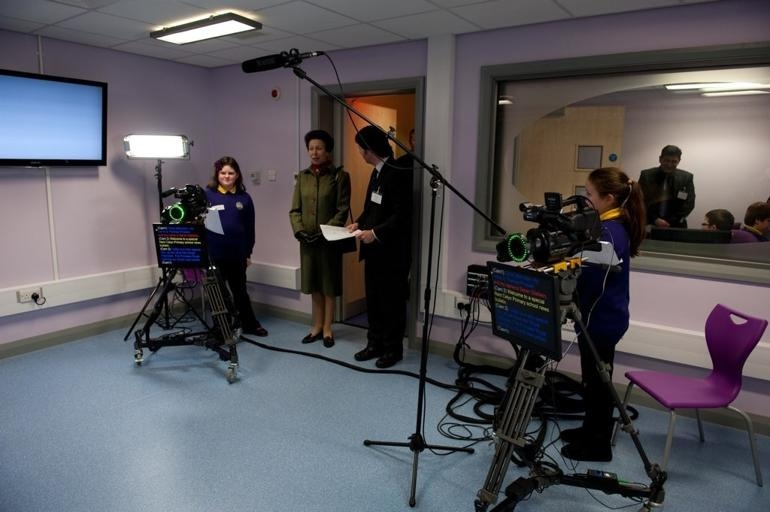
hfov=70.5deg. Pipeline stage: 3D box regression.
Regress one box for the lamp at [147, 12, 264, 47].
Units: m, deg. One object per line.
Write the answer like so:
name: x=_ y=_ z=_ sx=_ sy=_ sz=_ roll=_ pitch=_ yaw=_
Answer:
lamp: x=-1.666 y=-2.150 z=5.197 sx=1.192 sy=0.175 sz=0.465 roll=8 pitch=16 yaw=30

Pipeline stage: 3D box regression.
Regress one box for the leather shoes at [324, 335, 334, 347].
leather shoes: x=-0.584 y=0.914 z=5.712 sx=0.068 sy=0.045 sz=0.124 roll=-1 pitch=35 yaw=-3

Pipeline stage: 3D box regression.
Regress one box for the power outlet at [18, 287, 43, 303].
power outlet: x=-3.517 y=0.399 z=5.441 sx=0.129 sy=0.172 sz=0.230 roll=1 pitch=4 yaw=38

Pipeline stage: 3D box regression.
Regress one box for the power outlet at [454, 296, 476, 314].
power outlet: x=0.760 y=0.488 z=5.274 sx=0.131 sy=0.067 sz=0.190 roll=5 pitch=7 yaw=32

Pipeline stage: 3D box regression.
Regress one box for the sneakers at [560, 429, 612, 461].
sneakers: x=1.534 y=1.457 z=4.175 sx=0.314 sy=0.114 sz=0.245 roll=5 pitch=25 yaw=14

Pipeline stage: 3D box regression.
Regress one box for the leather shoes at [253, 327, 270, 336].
leather shoes: x=-1.350 y=0.835 z=6.015 sx=0.185 sy=0.140 sz=0.069 roll=1 pitch=10 yaw=2

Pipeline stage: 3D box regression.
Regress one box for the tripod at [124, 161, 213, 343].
tripod: x=-2.175 y=0.038 z=5.514 sx=0.861 sy=1.876 sz=1.596 roll=-6 pitch=15 yaw=-24

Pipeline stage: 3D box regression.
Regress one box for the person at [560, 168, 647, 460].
person: x=1.598 y=0.485 z=4.035 sx=0.419 sy=2.204 sz=0.440 roll=7 pitch=15 yaw=26

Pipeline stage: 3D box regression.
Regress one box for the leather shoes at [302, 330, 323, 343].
leather shoes: x=-0.754 y=0.877 z=5.873 sx=0.247 sy=0.102 sz=0.088 roll=-2 pitch=6 yaw=-39
